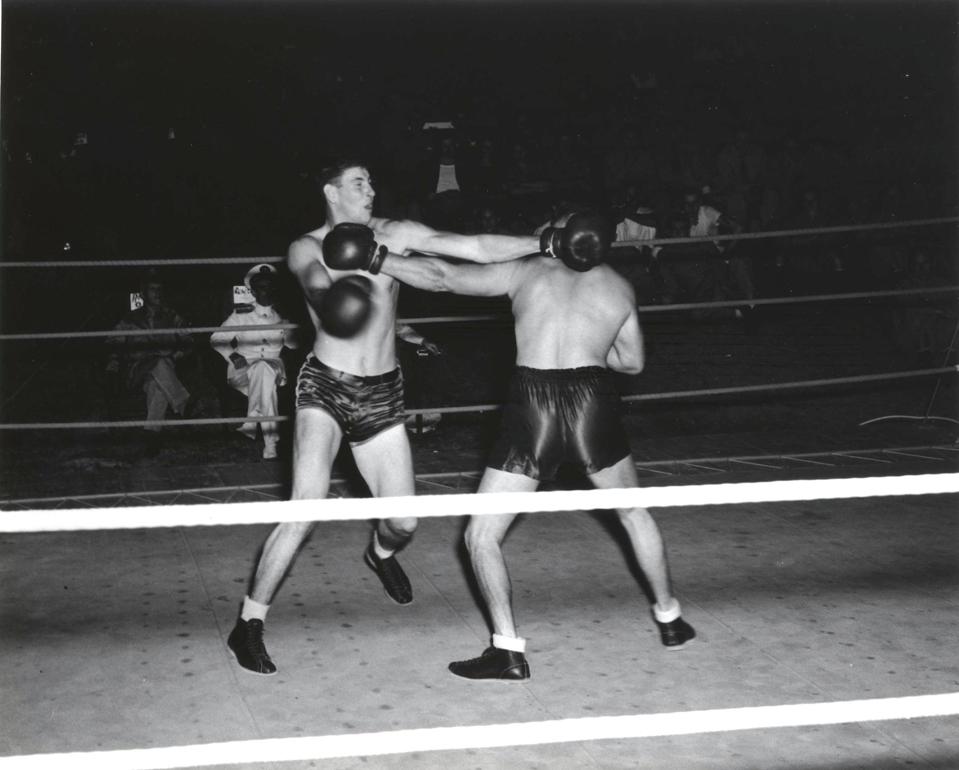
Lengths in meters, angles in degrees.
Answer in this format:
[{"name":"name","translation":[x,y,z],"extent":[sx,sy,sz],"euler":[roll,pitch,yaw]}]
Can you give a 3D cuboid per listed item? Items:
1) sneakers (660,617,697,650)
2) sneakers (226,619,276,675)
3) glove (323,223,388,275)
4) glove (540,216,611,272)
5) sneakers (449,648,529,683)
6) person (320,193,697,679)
[{"name":"sneakers","translation":[0.703,0.882,3.191],"extent":[0.068,0.107,0.164],"euler":[-4,8,40]},{"name":"sneakers","translation":[-0.778,0.880,3.032],"extent":[0.098,0.109,0.262],"euler":[4,0,-34]},{"name":"glove","translation":[-0.442,-0.482,3.136],"extent":[0.213,0.169,0.121],"euler":[5,12,25]},{"name":"glove","translation":[0.329,-0.527,3.177],"extent":[0.225,0.199,0.226],"euler":[-10,20,-23]},{"name":"sneakers","translation":[0.050,0.921,2.986],"extent":[0.295,0.116,0.099],"euler":[2,-14,8]},{"name":"person","translation":[0.181,0.158,3.199],"extent":[1.206,1.522,0.843],"euler":[-2,11,-9]}]
